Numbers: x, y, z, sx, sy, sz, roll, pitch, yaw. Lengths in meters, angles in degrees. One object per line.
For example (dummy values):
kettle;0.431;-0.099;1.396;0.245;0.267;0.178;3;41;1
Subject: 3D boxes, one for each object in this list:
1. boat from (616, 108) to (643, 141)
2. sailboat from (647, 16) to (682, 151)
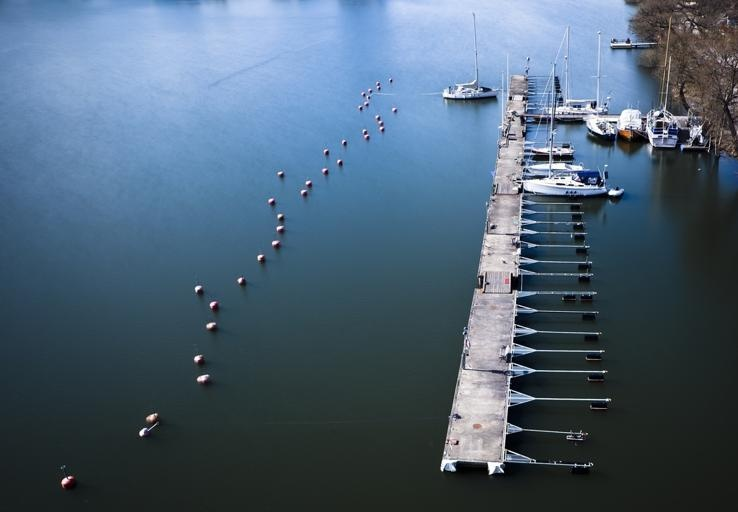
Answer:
boat;22.543;-11.094;73.300;1.270;1.590;4.573;3;41;19
sailboat;26.278;-14.625;75.509;2.567;7.946;13.041;4;18;18
